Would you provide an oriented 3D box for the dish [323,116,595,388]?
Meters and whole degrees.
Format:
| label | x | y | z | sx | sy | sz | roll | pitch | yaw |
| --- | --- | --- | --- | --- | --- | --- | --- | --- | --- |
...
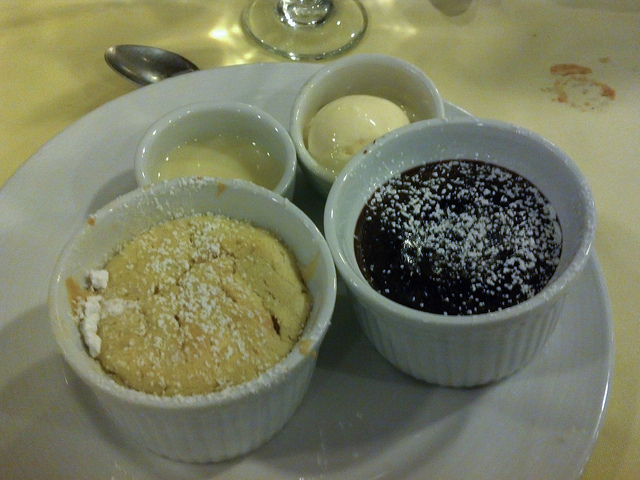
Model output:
| label | x | y | z | sx | sy | sz | roll | pitch | yaw |
| --- | --- | --- | --- | --- | --- | --- | --- | --- | --- |
| dish | 0.282 | 0.006 | 1.309 | 0.494 | 0.255 | 0.560 | -8 | 57 | 4 |

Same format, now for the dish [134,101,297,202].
| label | x | y | z | sx | sy | sz | roll | pitch | yaw |
| --- | --- | --- | --- | --- | --- | --- | --- | --- | --- |
| dish | -0.228 | -0.220 | 1.530 | 0.290 | 0.255 | 0.287 | 4 | 35 | 6 |

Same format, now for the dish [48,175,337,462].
| label | x | y | z | sx | sy | sz | roll | pitch | yaw |
| --- | --- | --- | --- | --- | --- | --- | --- | --- | --- |
| dish | -0.248 | 0.180 | 1.308 | 0.531 | 0.257 | 0.533 | -36 | 58 | -29 |

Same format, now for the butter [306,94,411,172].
| label | x | y | z | sx | sy | sz | roll | pitch | yaw |
| --- | --- | --- | --- | --- | --- | --- | --- | --- | --- |
| butter | 0.077 | -0.267 | 1.522 | 0.252 | 0.171 | 0.169 | -12 | 30 | -20 |
